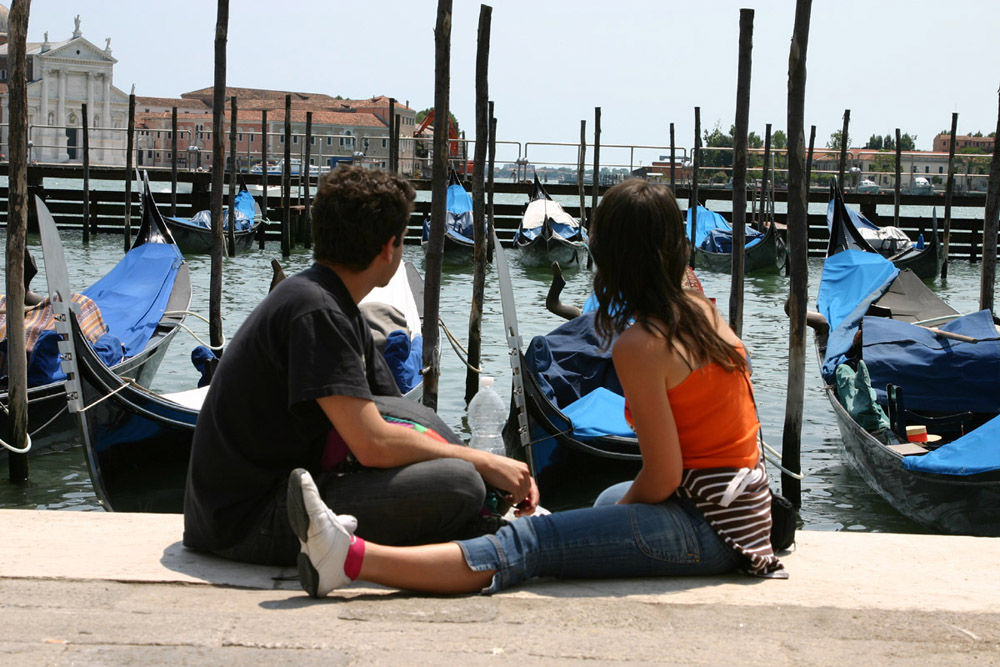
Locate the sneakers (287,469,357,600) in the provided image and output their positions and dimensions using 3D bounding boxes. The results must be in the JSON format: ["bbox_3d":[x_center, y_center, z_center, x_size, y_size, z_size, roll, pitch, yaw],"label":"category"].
[{"bbox_3d":[-0.763,0.832,5.267,0.278,0.611,0.204,-6,2,-34],"label":"sneakers"}]

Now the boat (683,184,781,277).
[{"bbox_3d":[5.181,-2.263,28.614,1.700,1.805,4.986,-1,5,-1],"label":"boat"}]

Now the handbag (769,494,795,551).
[{"bbox_3d":[1.313,0.864,5.757,0.098,0.298,0.231,5,12,19],"label":"handbag"}]

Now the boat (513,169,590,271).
[{"bbox_3d":[1.175,-2.368,28.704,1.163,1.150,3.564,0,22,0],"label":"boat"}]
